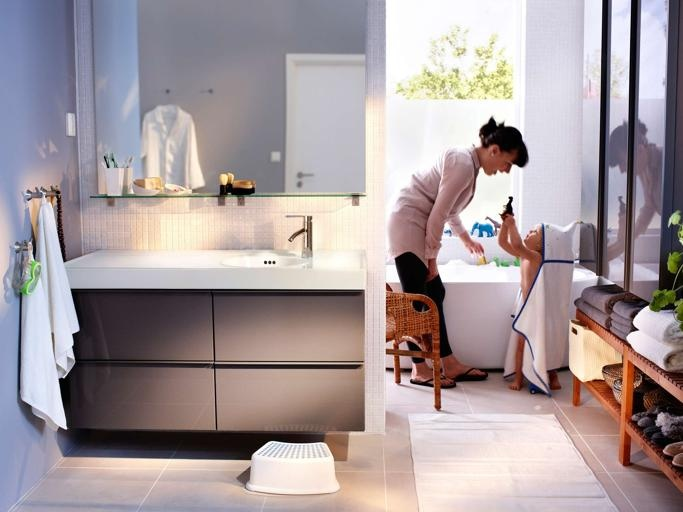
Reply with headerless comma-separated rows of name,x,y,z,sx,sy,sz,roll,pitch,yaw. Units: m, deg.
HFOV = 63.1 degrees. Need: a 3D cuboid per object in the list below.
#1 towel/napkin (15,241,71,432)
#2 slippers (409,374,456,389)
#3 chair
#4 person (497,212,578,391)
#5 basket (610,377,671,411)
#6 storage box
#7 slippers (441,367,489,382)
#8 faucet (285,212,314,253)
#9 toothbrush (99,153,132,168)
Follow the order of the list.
towel/napkin,-1.429,0.418,2.578,0.172,0.860,0.168,-7,14,-29
slippers,0.627,0.842,3.761,0.251,0.067,0.106,-1,1,10
chair,0.463,0.608,3.829,0.563,0.901,0.778,-1,0,10
person,1.285,0.286,3.684,0.449,1.141,0.478,8,15,33
basket,1.571,0.681,2.827,0.158,0.074,0.168,2,6,6
storage box,1.453,0.550,3.332,0.266,0.396,0.382,-1,8,-10
slippers,0.872,0.820,3.812,0.269,0.081,0.121,-1,-1,-1
faucet,-0.218,-0.119,2.982,0.146,0.208,0.282,-2,13,-6
toothbrush,-1.237,-0.511,3.040,0.134,0.144,0.084,-1,3,-2
